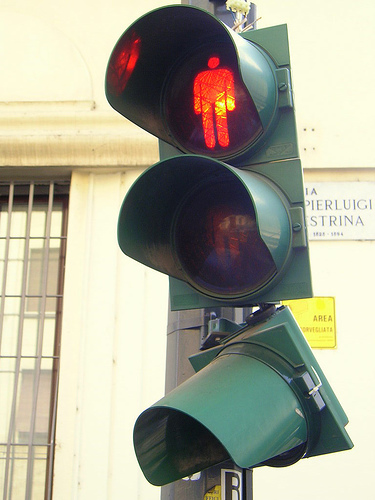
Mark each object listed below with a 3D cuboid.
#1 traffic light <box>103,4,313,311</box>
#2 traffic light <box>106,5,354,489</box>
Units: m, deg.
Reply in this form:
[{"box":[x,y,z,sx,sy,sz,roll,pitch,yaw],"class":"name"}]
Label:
[{"box":[0.049,-0.250,1.867,0.505,0.794,0.331,-10,-20,18],"class":"traffic light"},{"box":[0.079,-0.173,1.919,0.513,1.542,0.555,-15,-22,30],"class":"traffic light"}]
